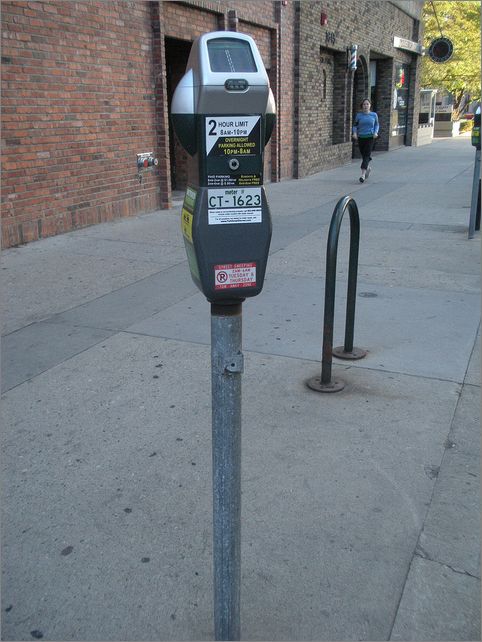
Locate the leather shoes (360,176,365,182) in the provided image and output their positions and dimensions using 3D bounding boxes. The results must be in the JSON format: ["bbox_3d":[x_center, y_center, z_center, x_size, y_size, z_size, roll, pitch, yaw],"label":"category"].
[{"bbox_3d":[3.065,-3.593,12.637,0.131,0.156,0.104,-4,19,-9],"label":"leather shoes"}]

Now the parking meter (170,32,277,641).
[{"bbox_3d":[-0.048,0.166,1.047,0.184,1.390,0.221,0,16,-8],"label":"parking meter"}]
